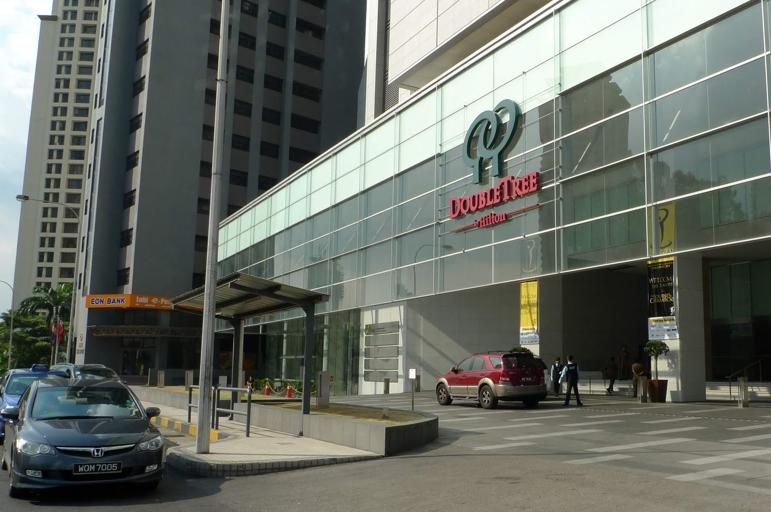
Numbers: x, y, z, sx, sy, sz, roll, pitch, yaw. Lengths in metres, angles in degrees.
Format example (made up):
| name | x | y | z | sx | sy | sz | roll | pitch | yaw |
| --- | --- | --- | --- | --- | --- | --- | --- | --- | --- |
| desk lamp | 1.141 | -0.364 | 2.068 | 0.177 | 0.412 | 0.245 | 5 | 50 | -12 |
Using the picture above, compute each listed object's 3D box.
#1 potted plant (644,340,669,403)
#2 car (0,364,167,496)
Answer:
| name | x | y | z | sx | sy | sz | roll | pitch | yaw |
| --- | --- | --- | --- | --- | --- | --- | --- | --- | --- |
| potted plant | 11.451 | 4.810 | 28.568 | 0.816 | 2.523 | 0.846 | -1 | -14 | 1 |
| car | -7.129 | 4.189 | 16.139 | 3.824 | 2.791 | 2.020 | -3 | -14 | 9 |
